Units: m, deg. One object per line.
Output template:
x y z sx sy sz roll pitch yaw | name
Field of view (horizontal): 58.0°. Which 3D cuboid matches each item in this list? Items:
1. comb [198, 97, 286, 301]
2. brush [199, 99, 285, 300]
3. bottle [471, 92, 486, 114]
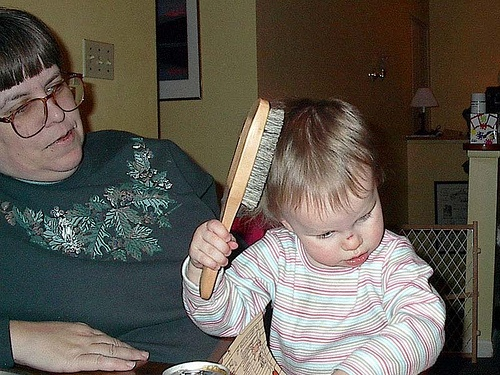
-0.006 0.020 0.894 0.118 0.346 0.205 7 11 18 | comb
-0.020 0.033 0.918 0.164 0.410 0.119 5 9 33 | brush
1.408 -0.518 2.788 0.078 0.122 0.118 3 8 25 | bottle
